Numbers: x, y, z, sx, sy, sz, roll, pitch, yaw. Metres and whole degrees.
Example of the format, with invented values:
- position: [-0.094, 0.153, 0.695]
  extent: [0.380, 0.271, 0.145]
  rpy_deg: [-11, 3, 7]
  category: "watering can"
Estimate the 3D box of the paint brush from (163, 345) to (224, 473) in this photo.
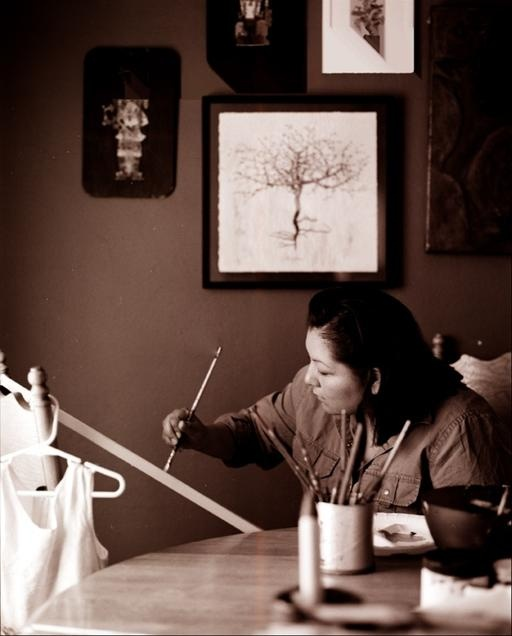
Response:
- position: [-0.180, 0.269, 2.108]
  extent: [0.021, 0.396, 0.028]
  rpy_deg: [17, 3, 15]
  category: "paint brush"

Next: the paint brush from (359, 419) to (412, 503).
- position: [0.268, 0.294, 1.502]
  extent: [0.032, 0.237, 0.023]
  rpy_deg: [28, 18, 26]
  category: "paint brush"

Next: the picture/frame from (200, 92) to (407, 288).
- position: [0.122, -0.392, 2.254]
  extent: [0.411, 0.598, 0.036]
  rpy_deg: [0, 0, -3]
  category: "picture/frame"

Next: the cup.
- position: [0.139, 0.344, 1.204]
  extent: [0.086, 0.138, 0.099]
  rpy_deg: [-1, 1, -22]
  category: "cup"

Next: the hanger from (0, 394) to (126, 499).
- position: [-0.466, 0.315, 1.782]
  extent: [0.308, 0.274, 0.021]
  rpy_deg: [4, 26, 35]
  category: "hanger"
